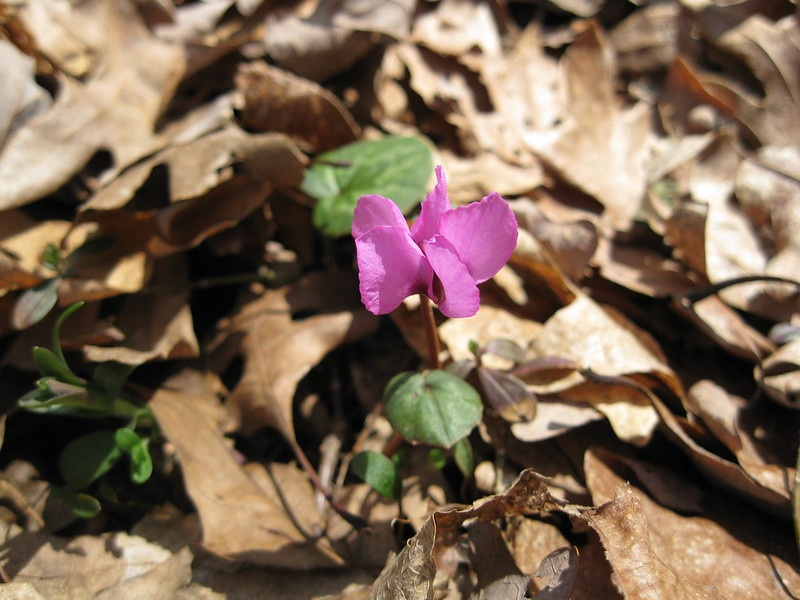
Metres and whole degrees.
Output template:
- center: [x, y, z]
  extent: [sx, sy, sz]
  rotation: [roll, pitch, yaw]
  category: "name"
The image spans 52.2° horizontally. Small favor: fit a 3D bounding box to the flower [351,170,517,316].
- center: [0.115, -0.157, 2.468]
  extent: [0.469, 0.223, 0.416]
  rotation: [-42, 61, -15]
  category: "flower"
